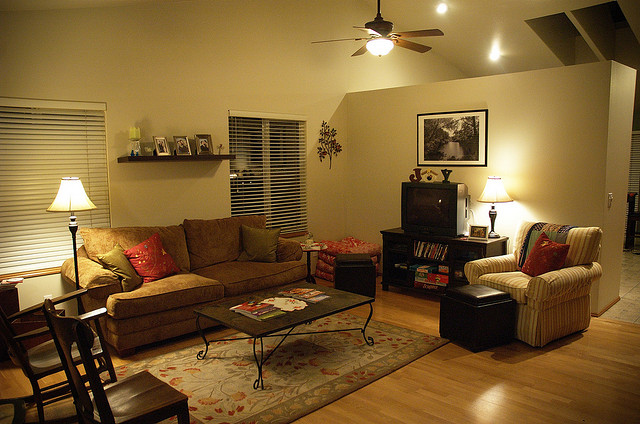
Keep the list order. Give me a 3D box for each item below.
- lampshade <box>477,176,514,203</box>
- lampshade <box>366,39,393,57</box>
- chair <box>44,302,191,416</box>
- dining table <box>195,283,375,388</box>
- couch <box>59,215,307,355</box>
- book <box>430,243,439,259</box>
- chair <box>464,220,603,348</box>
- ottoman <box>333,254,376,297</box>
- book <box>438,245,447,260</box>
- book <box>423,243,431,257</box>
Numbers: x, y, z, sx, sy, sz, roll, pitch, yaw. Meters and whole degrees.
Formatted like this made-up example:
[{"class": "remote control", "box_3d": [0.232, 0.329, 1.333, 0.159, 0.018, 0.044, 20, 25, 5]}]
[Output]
[{"class": "lampshade", "box_3d": [2.618, -0.307, 6.631, 0.577, 0.414, 0.566, 2, 0, -2]}, {"class": "lampshade", "box_3d": [0.705, -1.986, 5.314, 0.322, 0.162, 0.202, 2, 14, 11]}, {"class": "chair", "box_3d": [-1.738, 1.180, 3.662, 0.685, 0.931, 1.187, -14, 19, -42]}, {"class": "dining table", "box_3d": [-0.493, 1.719, 5.259, 1.712, 0.551, 1.082, -5, 7, -43]}, {"class": "couch", "box_3d": [-1.712, 0.871, 6.333, 3.184, 1.430, 1.360, -5, 8, -45]}, {"class": "book", "box_3d": [1.777, 0.609, 6.852, 0.103, 0.230, 0.051, -5, 15, -15]}, {"class": "chair", "box_3d": [2.862, 0.838, 5.848, 1.368, 1.348, 1.107, -10, 17, -33]}, {"class": "ottoman", "box_3d": [0.531, 0.944, 6.878, 0.633, 0.577, 0.595, -2, 8, 3]}, {"class": "book", "box_3d": [1.871, 0.627, 6.818, 0.052, 0.258, 0.038, 22, 12, -29]}, {"class": "book", "box_3d": [1.667, 0.592, 6.929, 0.089, 0.200, 0.046, 0, 15, 5]}]
